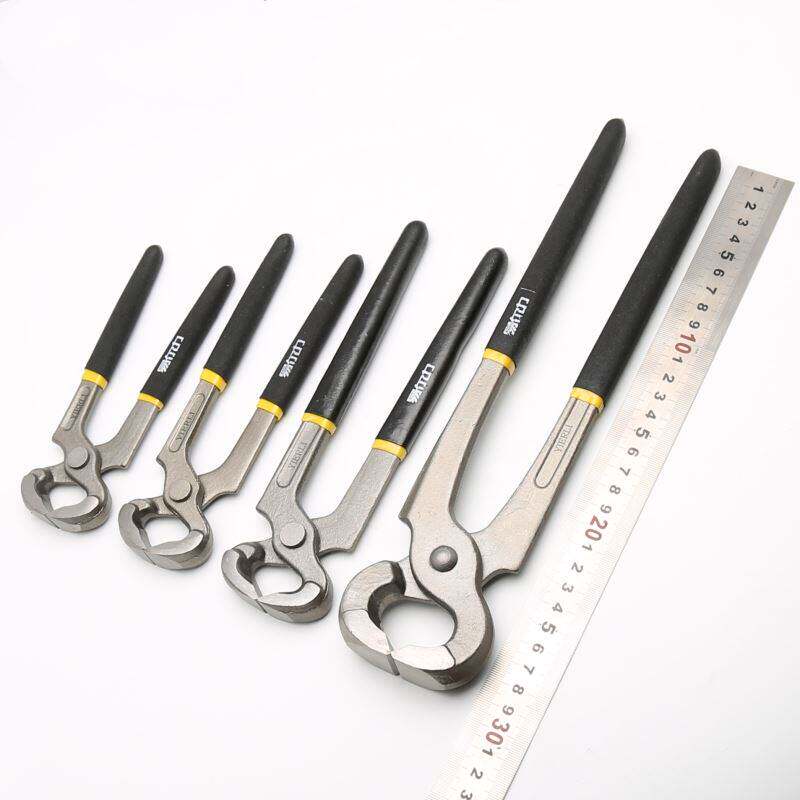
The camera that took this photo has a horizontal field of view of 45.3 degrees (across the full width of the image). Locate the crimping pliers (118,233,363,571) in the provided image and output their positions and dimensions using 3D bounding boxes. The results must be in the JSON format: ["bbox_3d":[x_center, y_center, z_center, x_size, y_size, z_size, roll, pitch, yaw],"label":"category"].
[{"bbox_3d":[-0.204,0.002,1.425,0.189,0.586,0.063,18,-36,25],"label":"crimping pliers"}]

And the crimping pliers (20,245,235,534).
[{"bbox_3d":[-0.398,-0.017,1.462,0.177,0.489,0.055,17,-37,15],"label":"crimping pliers"}]
